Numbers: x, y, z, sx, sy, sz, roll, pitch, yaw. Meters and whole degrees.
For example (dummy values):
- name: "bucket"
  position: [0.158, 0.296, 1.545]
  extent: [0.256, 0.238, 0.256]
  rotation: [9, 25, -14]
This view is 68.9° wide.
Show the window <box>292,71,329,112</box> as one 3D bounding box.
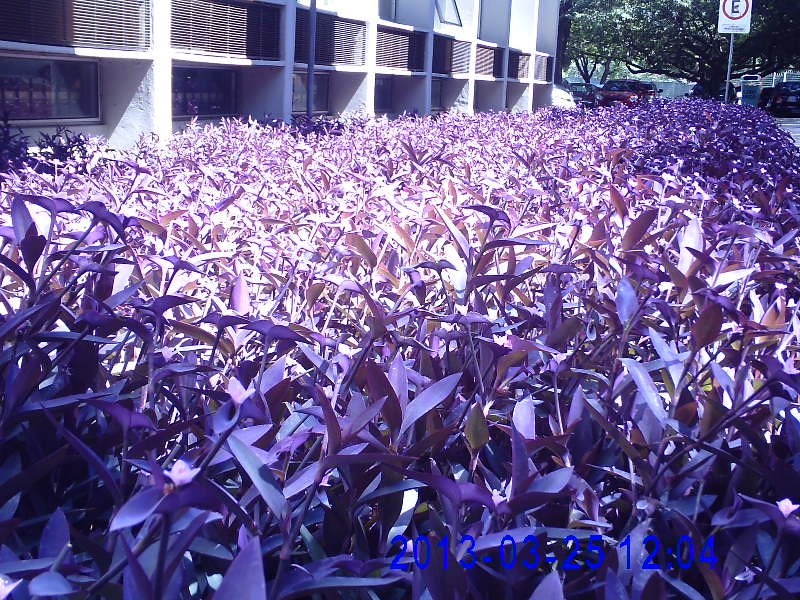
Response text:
- name: "window"
  position: [-1.999, -4.618, 13.045]
  extent: [1.409, 0.921, 0.030]
  rotation: [17, 15, 41]

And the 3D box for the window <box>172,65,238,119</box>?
- name: "window"
  position: [-3.403, -3.621, 10.244]
  extent: [1.496, 0.843, 0.163]
  rotation: [9, 13, 26]
